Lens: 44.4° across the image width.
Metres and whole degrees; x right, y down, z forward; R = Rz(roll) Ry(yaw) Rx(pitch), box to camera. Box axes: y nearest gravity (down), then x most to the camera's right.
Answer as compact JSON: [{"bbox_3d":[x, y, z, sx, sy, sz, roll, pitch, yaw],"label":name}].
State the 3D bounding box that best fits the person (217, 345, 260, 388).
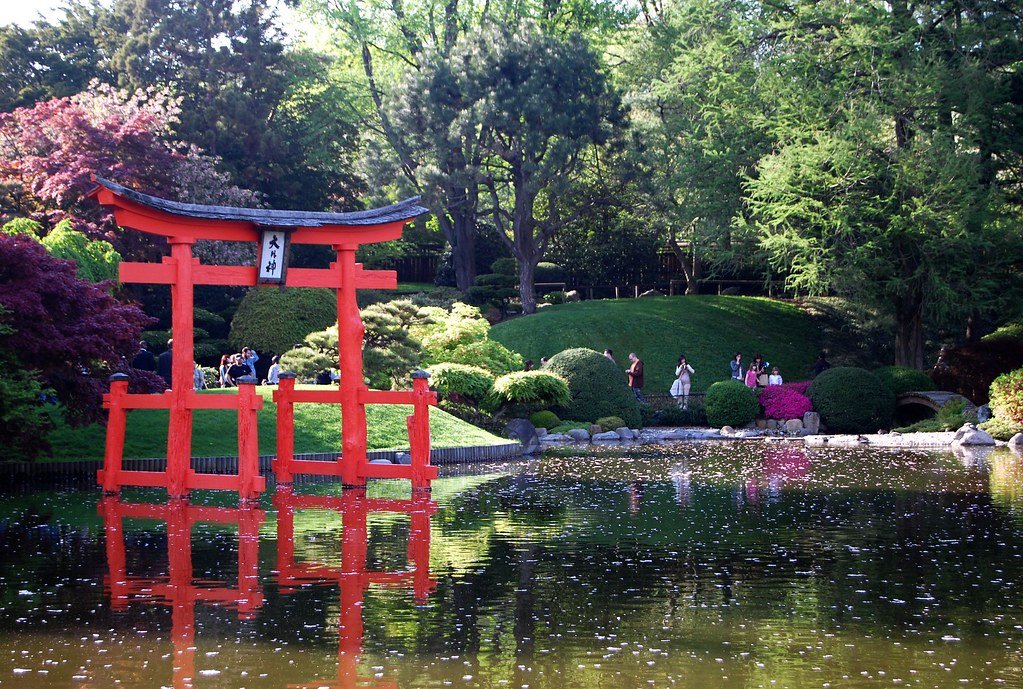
[{"bbox_3d":[-8.932,0.700,40.805,1.285,1.103,1.981,9,-6,-14],"label":"person"}]
